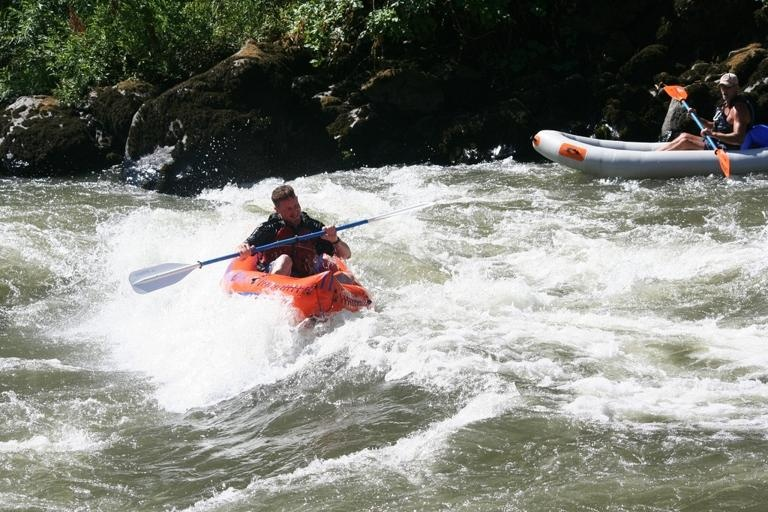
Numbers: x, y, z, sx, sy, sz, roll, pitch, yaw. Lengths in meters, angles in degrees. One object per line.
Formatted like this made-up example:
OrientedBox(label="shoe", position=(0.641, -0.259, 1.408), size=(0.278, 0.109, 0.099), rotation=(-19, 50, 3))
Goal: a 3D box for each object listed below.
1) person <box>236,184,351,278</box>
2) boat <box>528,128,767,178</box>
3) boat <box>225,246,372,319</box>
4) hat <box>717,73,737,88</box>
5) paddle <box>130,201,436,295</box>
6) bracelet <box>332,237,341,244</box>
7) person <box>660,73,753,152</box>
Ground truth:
OrientedBox(label="person", position=(-1.383, -0.363, 17.662), size=(1.387, 1.338, 0.914), rotation=(-14, 26, -21))
OrientedBox(label="boat", position=(4.664, -1.733, 20.234), size=(2.890, 0.492, 1.333), rotation=(4, 7, 22))
OrientedBox(label="boat", position=(-1.425, 0.413, 16.417), size=(1.551, 0.500, 1.176), rotation=(20, 20, 39))
OrientedBox(label="hat", position=(6.001, -3.065, 19.630), size=(0.259, 0.236, 0.159), rotation=(-11, 13, 10))
OrientedBox(label="paddle", position=(-1.578, -0.092, 17.645), size=(5.061, 0.597, 0.224), rotation=(-13, 33, -10))
OrientedBox(label="bracelet", position=(-0.714, -0.252, 16.892), size=(0.112, 0.121, 0.202), rotation=(-12, 11, 7))
OrientedBox(label="person", position=(5.982, -2.460, 20.005), size=(1.986, 1.033, 1.016), rotation=(-1, 26, -4))
